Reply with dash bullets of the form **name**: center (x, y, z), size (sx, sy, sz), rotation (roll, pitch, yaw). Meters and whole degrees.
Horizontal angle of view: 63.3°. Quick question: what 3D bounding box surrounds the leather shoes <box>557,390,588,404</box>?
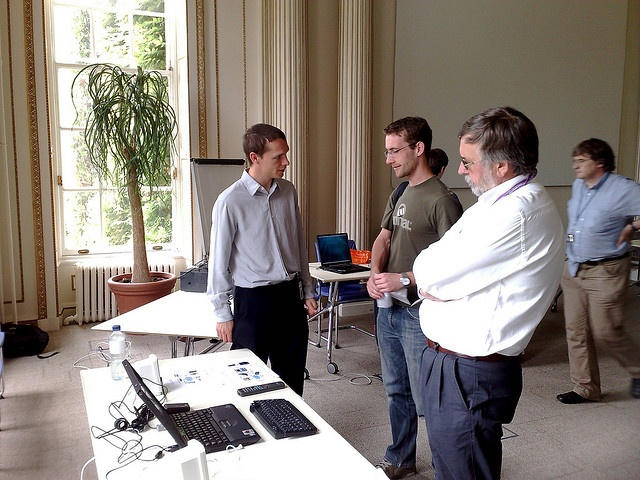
- **leather shoes**: center (2.049, 1.296, 4.236), size (0.208, 0.092, 0.081), rotation (-6, 18, 11)

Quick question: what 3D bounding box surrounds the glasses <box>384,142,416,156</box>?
- **glasses**: center (0.445, -0.549, 3.091), size (0.109, 0.078, 0.243), rotation (-6, 15, -24)

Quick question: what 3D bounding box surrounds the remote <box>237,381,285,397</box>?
- **remote**: center (-0.305, 0.772, 2.684), size (0.252, 0.028, 0.081), rotation (-3, 21, -25)

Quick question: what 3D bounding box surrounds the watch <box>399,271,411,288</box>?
- **watch**: center (0.483, 0.225, 2.946), size (0.050, 0.080, 0.073), rotation (0, 4, -3)

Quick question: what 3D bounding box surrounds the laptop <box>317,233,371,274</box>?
- **laptop**: center (0.238, 0.127, 5.227), size (0.448, 0.348, 0.535), rotation (6, 7, 30)

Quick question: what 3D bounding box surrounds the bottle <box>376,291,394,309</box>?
- **bottle**: center (0.386, 0.363, 3.068), size (0.101, 0.108, 0.063), rotation (-2, 6, 16)

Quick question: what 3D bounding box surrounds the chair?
- **chair**: center (0.267, 0.490, 5.339), size (0.598, 1.067, 0.682), rotation (-2, 8, -12)

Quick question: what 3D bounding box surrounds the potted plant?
- **potted plant**: center (-2.126, -0.513, 5.869), size (1.355, 2.950, 1.655), rotation (-7, 15, -28)

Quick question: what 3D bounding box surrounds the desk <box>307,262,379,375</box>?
- **desk**: center (0.222, 0.695, 5.400), size (0.968, 0.934, 0.850), rotation (-5, 10, -33)

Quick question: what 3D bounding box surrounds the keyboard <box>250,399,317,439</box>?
- **keyboard**: center (-0.172, 0.828, 2.420), size (0.128, 0.041, 0.196), rotation (-8, 20, -23)

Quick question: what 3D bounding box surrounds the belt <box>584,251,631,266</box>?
- **belt**: center (2.254, 0.151, 4.072), size (0.341, 0.121, 0.086), rotation (2, 13, 7)
